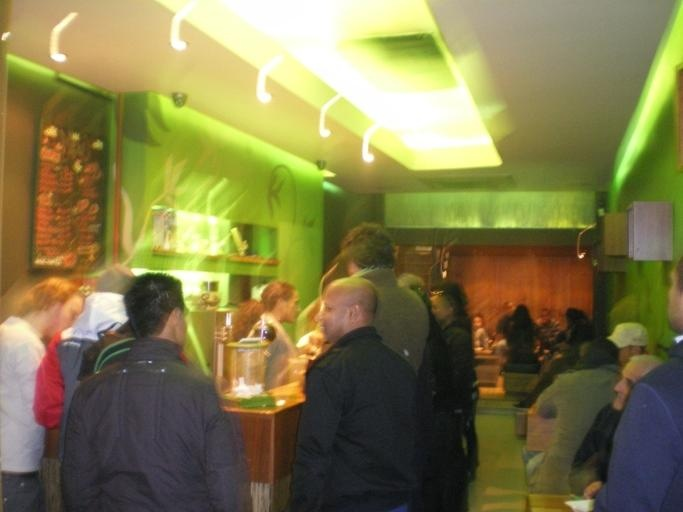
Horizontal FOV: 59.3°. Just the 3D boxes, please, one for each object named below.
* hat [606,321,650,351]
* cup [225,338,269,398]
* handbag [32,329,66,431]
[{"bbox_3d":[1.948,0.543,4.087,0.239,0.126,0.167,2,2,10],"label":"hat"},{"bbox_3d":[-0.574,0.694,3.689,0.219,0.334,0.266,0,0,30],"label":"cup"},{"bbox_3d":[-1.530,0.667,3.155,0.134,0.401,0.299,0,6,-1],"label":"handbag"}]
